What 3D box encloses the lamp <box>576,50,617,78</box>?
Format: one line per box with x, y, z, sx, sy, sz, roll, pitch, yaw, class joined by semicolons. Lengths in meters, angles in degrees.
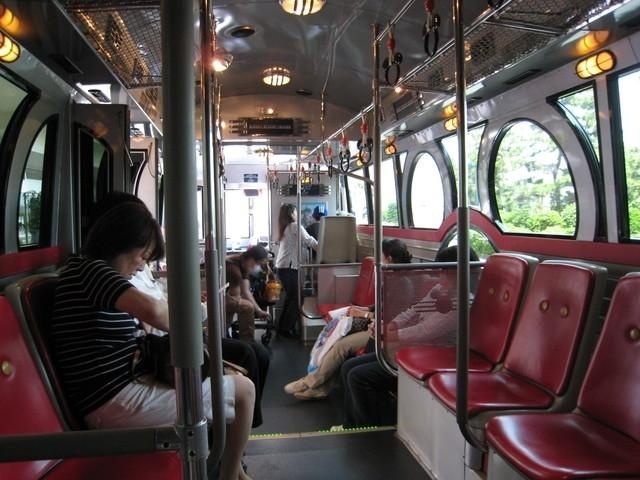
1.837;-1.162;3.199;0.059;0.088;0.171;-6;0;-27;lamp

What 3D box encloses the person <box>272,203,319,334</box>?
-0.323;0.422;6.760;0.579;1.819;0.618;4;-1;-16;person

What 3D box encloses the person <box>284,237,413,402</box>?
0.381;0.751;3.738;0.448;1.383;0.874;10;12;40;person
